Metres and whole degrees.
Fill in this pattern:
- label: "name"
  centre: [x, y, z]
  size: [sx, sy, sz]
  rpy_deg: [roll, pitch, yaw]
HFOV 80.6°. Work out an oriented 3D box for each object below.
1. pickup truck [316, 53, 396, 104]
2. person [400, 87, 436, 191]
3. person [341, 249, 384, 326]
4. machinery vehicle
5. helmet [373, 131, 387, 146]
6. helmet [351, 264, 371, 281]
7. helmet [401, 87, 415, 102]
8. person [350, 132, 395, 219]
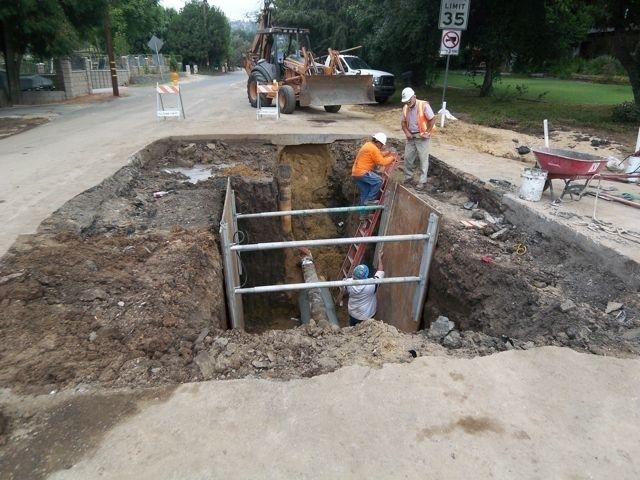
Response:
- label: "pickup truck"
  centre: [2.258, -8.416, 18.881]
  size: [1.658, 1.666, 3.842]
  rpy_deg: [-19, 42, -24]
- label: "person"
  centre: [2.067, -2.177, 8.204]
  size: [0.741, 2.041, 0.481]
  rpy_deg: [10, 25, 17]
- label: "person"
  centre: [0.741, 1.212, 7.080]
  size: [0.748, 2.080, 0.710]
  rpy_deg: [6, 29, 10]
- label: "machinery vehicle"
  centre: [-1.151, -6.644, 14.985]
  size: [3.046, 3.041, 5.842]
  rpy_deg: [-12, 28, -30]
- label: "helmet"
  centre: [1.326, -2.266, 8.421]
  size: [0.295, 0.253, 0.414]
  rpy_deg: [5, 24, 5]
- label: "helmet"
  centre: [0.701, 0.572, 6.602]
  size: [0.239, 0.274, 0.318]
  rpy_deg: [2, 37, 10]
- label: "helmet"
  centre: [1.896, -3.083, 8.069]
  size: [0.258, 0.293, 0.473]
  rpy_deg: [7, 24, 10]
- label: "person"
  centre: [1.271, -1.482, 9.041]
  size: [1.328, 2.196, 0.899]
  rpy_deg: [-20, 58, -8]
